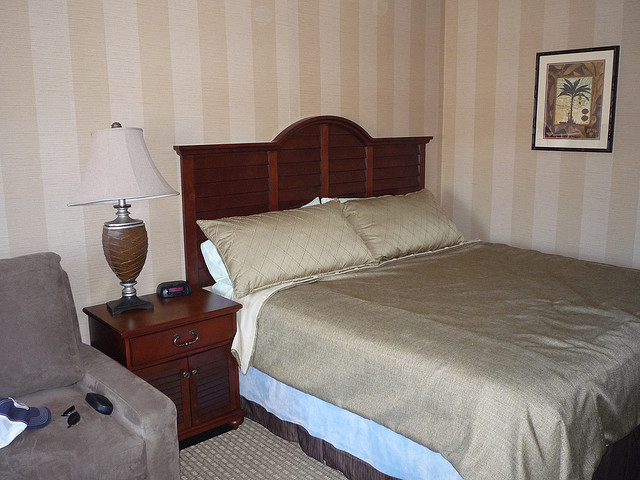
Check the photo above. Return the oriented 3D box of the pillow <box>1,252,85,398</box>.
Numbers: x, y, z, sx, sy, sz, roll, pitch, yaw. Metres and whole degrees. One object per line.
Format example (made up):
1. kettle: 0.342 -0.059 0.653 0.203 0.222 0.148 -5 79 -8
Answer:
1. pillow: -1.335 0.384 2.107 0.324 0.540 0.415 -10 18 -31

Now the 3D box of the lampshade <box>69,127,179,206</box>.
1. lampshade: -1.099 -0.410 2.511 0.602 0.397 0.575 -2 6 0

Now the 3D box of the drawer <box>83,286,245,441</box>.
1. drawer: -0.942 0.772 2.717 0.752 0.734 0.789 2 7 33

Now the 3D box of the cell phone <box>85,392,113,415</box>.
1. cell phone: -0.946 0.694 1.929 0.114 0.028 0.066 12 19 29
